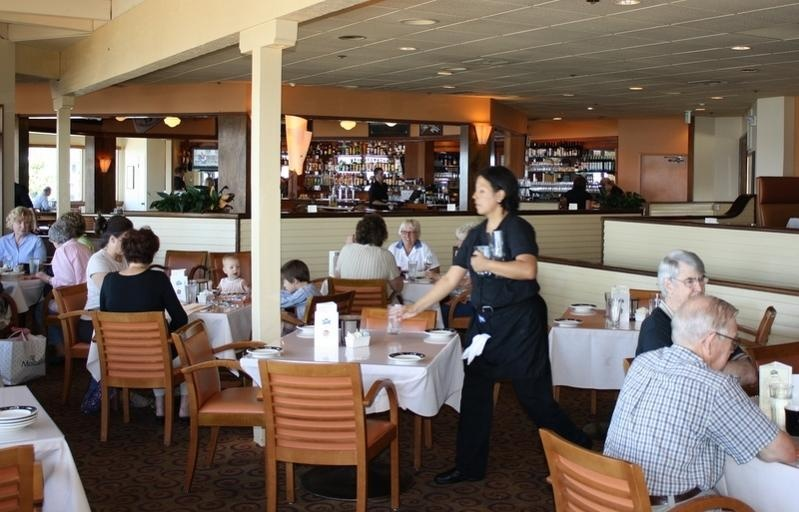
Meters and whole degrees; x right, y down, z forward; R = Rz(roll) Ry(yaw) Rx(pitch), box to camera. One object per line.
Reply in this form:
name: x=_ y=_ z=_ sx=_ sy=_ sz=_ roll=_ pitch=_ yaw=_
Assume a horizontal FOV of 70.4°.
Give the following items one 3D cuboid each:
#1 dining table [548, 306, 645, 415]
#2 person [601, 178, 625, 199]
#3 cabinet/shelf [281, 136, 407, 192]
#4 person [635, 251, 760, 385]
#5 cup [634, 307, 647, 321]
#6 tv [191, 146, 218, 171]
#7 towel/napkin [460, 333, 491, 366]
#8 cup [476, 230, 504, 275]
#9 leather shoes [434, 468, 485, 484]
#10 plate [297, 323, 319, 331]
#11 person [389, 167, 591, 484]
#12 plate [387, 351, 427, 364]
dining table: x=1.470 y=0.826 z=4.675 sx=0.807 sy=0.486 sz=0.722 roll=0 pitch=7 yaw=-8
person: x=4.820 y=-1.579 z=12.792 sx=0.438 sy=0.430 sz=0.931 roll=3 pitch=8 yaw=20
cabinet/shelf: x=-1.426 y=-2.595 z=15.843 sx=2.907 sy=1.263 sz=0.371 roll=0 pitch=-3 yaw=8
person: x=1.674 y=0.354 z=3.196 sx=0.732 sy=0.669 sz=0.624 roll=1 pitch=4 yaw=-20
cup: x=1.980 y=0.474 z=4.636 sx=0.116 sy=0.122 sz=0.144 roll=0 pitch=-3 yaw=25
tv: x=-6.710 y=-3.436 z=19.764 sx=0.928 sy=0.783 sz=0.285 roll=3 pitch=8 yaw=19
towel/napkin: x=0.499 y=0.617 z=3.747 sx=0.156 sy=0.204 sz=0.068 roll=27 pitch=5 yaw=15
cup: x=0.576 y=-0.076 z=3.602 sx=0.188 sy=0.190 sz=0.077 roll=1 pitch=8 yaw=6
leather shoes: x=0.408 y=1.555 z=4.028 sx=0.369 sy=0.128 sz=0.122 roll=6 pitch=-7 yaw=0
plate: x=-0.714 y=0.555 z=4.447 sx=0.204 sy=0.040 sz=0.185 roll=0 pitch=-2 yaw=-1
person: x=0.671 y=0.517 z=3.788 sx=1.062 sy=2.230 sz=0.481 roll=3 pitch=9 yaw=15
plate: x=0.045 y=0.663 z=3.644 sx=0.228 sy=0.034 sz=0.159 roll=0 pitch=7 yaw=-1
